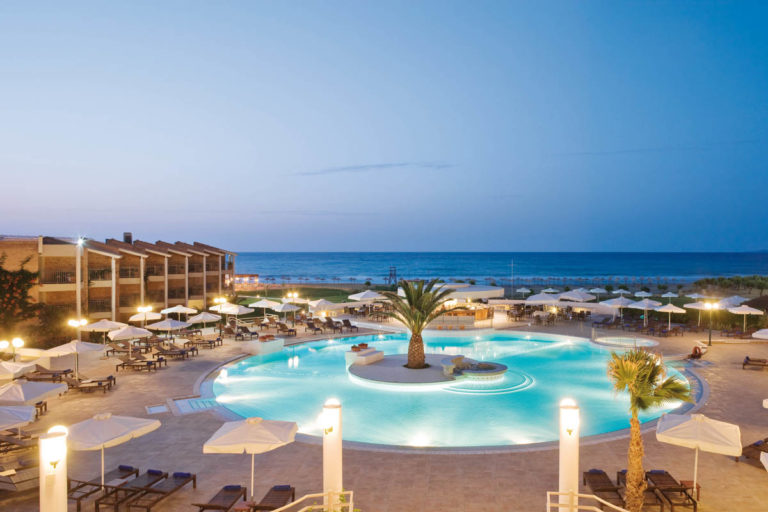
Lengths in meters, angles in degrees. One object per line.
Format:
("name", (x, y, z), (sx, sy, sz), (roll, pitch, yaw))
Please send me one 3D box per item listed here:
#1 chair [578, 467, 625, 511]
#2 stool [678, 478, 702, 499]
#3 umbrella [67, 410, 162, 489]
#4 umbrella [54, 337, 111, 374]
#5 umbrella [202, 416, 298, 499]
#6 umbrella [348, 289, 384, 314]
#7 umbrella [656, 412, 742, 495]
("chair", (6.439, 6.896, 16.873), (0.571, 0.341, 1.504), (1, 7, 5))
("stool", (8.943, 6.806, 16.745), (0.751, 0.327, 0.550), (0, -4, 6))
("umbrella", (-8.607, 5.641, 17.478), (1.912, 1.520, 2.361), (-9, 9, -35))
("umbrella", (-14.353, 4.519, 26.387), (2.272, 1.371, 2.070), (6, 3, 24))
("umbrella", (-4.067, 6.161, 17.202), (2.903, 2.255, 2.356), (4, -6, -2))
("umbrella", (-1.605, 3.645, 43.022), (2.455, 0.988, 2.088), (1, -2, -30))
("umbrella", (9.378, 5.903, 17.214), (2.254, 1.926, 2.265), (2, -1, 20))
